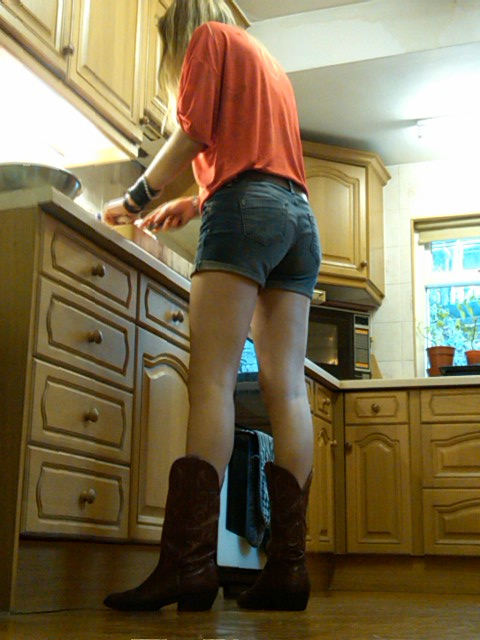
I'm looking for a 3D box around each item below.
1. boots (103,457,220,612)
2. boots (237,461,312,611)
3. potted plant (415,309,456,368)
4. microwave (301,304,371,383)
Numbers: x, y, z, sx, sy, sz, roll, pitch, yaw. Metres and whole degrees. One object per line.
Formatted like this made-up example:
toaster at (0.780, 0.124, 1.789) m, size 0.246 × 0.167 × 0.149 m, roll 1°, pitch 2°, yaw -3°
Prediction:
boots at (-0.111, 0.306, 0.798) m, size 0.155 × 0.232 × 0.071 m, roll 3°, pitch 5°, yaw -5°
boots at (0.056, 0.367, 0.933) m, size 0.112 × 0.234 × 0.087 m, roll 0°, pitch -10°, yaw -1°
potted plant at (1.274, 0.159, 3.488) m, size 0.172 × 0.381 × 0.178 m, roll 3°, pitch -9°, yaw -15°
microwave at (0.606, 0.097, 3.419) m, size 0.456 × 0.489 × 0.274 m, roll 6°, pitch 24°, yaw 25°
